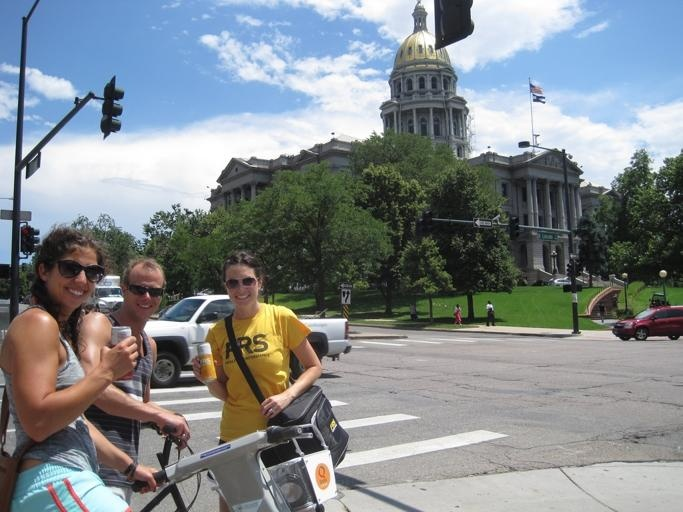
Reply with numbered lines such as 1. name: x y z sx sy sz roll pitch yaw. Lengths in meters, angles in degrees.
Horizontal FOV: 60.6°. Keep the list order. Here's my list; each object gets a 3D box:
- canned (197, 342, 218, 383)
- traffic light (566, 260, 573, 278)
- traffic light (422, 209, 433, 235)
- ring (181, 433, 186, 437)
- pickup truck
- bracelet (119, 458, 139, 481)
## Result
1. canned: -0.993 0.784 4.312 0.142 0.297 0.191 0 -3 -13
2. traffic light: 12.426 0.656 31.665 0.304 0.964 1.680 -2 -4 21
3. traffic light: 3.989 -1.630 27.367 0.453 0.948 0.712 -1 -3 10
4. ring: -1.059 1.189 3.913 0.042 0.024 0.029 6 1 -2
5. pickup truck: -2.287 1.883 14.060 4.620 1.678 2.103 5 -9 -32
6. bracelet: -1.271 1.277 3.514 0.109 0.063 0.078 -10 -9 -44
